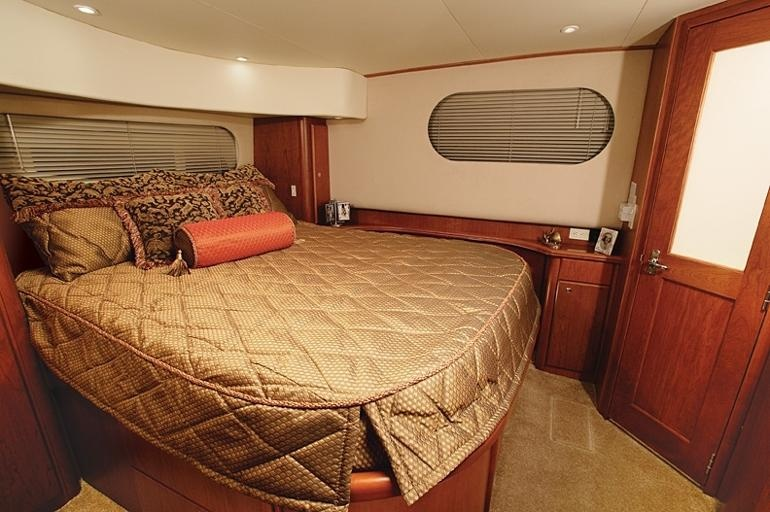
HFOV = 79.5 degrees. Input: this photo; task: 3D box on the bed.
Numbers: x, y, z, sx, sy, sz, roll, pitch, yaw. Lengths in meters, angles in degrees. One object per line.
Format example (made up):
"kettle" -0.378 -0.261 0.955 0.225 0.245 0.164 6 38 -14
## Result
"bed" -0.640 0.578 2.662 1.982 0.444 1.910 8 17 26
